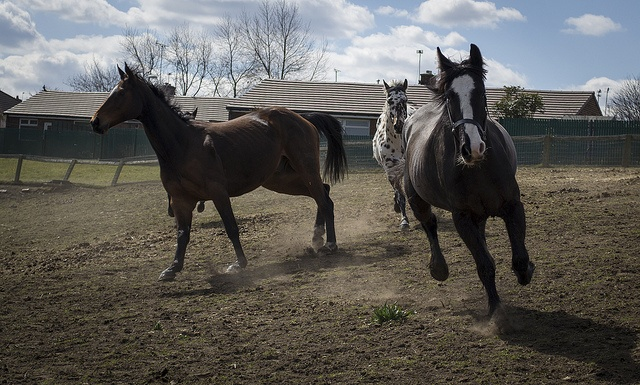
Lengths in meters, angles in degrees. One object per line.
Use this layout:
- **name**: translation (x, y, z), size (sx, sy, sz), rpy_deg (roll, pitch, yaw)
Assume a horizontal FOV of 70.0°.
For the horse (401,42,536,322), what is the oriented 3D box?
- **horse**: translation (1.998, -0.266, 6.358), size (1.201, 3.361, 1.920), rpy_deg (-5, 12, -6)
